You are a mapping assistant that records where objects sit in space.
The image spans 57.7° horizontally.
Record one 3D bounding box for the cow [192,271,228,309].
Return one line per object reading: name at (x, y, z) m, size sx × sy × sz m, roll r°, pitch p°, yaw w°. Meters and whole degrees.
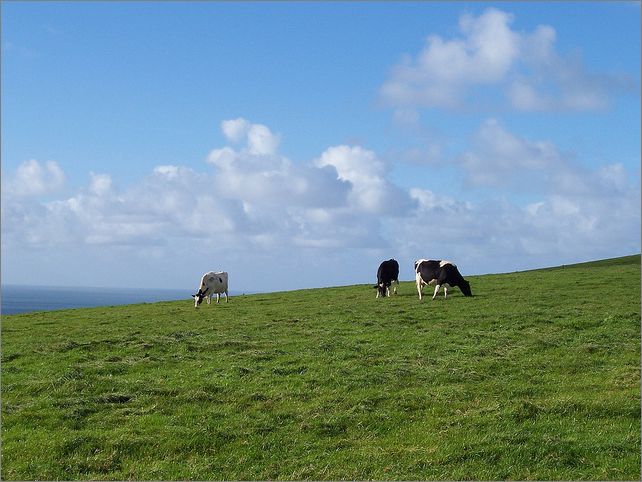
cow at (-8.959, 3.904, 47.627) m, size 1.351 × 2.750 × 4.362 m, roll 2°, pitch 3°, yaw 24°
